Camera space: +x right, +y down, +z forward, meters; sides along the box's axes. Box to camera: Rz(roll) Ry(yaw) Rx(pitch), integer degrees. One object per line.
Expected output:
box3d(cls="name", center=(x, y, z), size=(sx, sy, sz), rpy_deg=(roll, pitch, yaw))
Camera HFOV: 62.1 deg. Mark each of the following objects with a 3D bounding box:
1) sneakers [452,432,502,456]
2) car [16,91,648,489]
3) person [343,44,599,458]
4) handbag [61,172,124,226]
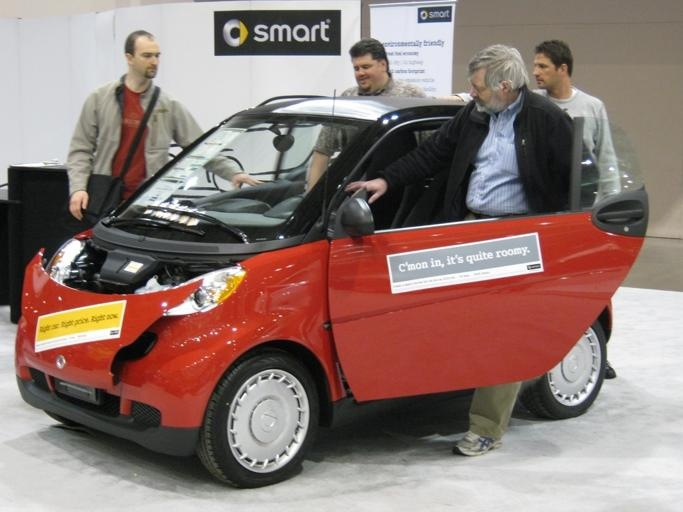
box3d(cls="sneakers", center=(0.754, 1.064, 3.251), size=(0.293, 0.121, 0.107), rpy_deg=(-1, 5, -21))
box3d(cls="car", center=(0.299, 0.049, 3.352), size=(3.448, 1.593, 1.915), rpy_deg=(-3, 8, -33))
box3d(cls="person", center=(0.700, -0.056, 3.216), size=(1.205, 2.132, 1.070), rpy_deg=(2, -7, 32))
box3d(cls="handbag", center=(-1.867, -0.446, 4.380), size=(0.439, 0.406, 0.174), rpy_deg=(6, -8, 32))
